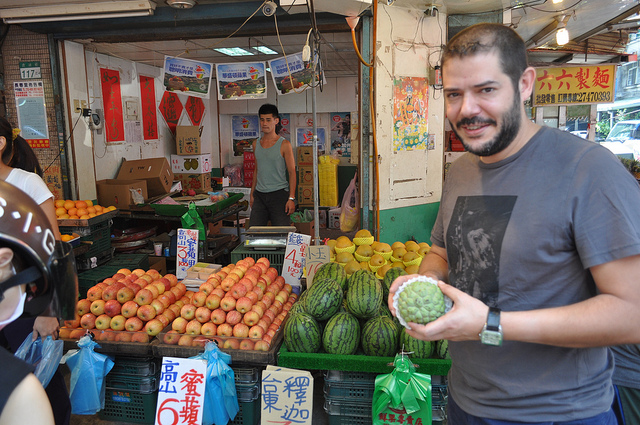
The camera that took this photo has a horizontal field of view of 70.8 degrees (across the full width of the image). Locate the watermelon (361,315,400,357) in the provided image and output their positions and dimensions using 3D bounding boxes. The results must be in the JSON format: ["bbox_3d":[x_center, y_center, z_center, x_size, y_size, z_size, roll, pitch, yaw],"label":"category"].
[{"bbox_3d":[0.373,0.787,2.840,0.220,0.215,0.109,-1,4,4],"label":"watermelon"}]

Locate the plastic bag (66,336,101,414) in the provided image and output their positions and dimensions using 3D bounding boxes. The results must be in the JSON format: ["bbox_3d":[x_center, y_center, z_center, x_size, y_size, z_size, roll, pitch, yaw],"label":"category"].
[{"bbox_3d":[-1.562,1.066,2.980,0.224,0.486,0.098,-1,3,1],"label":"plastic bag"}]

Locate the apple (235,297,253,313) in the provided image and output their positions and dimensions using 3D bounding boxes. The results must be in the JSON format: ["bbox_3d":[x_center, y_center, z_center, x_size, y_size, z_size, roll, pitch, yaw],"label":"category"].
[{"bbox_3d":[-0.525,0.627,3.133,0.097,0.094,0.096,-30,-33,12],"label":"apple"}]

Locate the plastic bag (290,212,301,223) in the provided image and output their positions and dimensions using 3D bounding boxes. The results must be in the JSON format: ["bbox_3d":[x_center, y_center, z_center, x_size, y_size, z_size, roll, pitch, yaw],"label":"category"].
[{"bbox_3d":[-0.340,0.062,5.914,0.111,0.133,0.044,-3,-7,23],"label":"plastic bag"}]

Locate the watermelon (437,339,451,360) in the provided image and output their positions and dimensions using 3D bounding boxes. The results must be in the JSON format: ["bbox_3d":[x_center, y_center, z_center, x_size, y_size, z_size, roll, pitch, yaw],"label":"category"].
[{"bbox_3d":[0.753,0.833,2.764,0.039,0.121,0.102,-4,4,-33],"label":"watermelon"}]

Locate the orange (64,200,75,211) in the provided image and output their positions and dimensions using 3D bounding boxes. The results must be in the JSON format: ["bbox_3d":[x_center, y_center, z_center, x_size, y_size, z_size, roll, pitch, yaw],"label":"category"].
[{"bbox_3d":[-2.803,-0.081,5.046,0.100,0.117,0.105,5,1,4],"label":"orange"}]

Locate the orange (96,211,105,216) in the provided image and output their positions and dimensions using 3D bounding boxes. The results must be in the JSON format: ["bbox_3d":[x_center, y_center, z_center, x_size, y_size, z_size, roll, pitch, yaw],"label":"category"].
[{"bbox_3d":[-2.500,0.005,5.111,0.051,0.061,0.051,-3,-8,10],"label":"orange"}]

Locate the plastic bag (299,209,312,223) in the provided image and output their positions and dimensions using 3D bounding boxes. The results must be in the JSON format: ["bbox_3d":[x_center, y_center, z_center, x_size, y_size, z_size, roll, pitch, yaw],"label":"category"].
[{"bbox_3d":[-0.206,0.035,5.886,0.144,0.159,0.449,-2,4,-2],"label":"plastic bag"}]

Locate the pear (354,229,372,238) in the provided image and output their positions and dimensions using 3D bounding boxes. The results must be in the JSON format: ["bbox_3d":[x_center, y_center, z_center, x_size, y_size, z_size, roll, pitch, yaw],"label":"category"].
[{"bbox_3d":[0.386,0.189,4.105,0.160,0.065,0.109,-2,4,-8],"label":"pear"}]

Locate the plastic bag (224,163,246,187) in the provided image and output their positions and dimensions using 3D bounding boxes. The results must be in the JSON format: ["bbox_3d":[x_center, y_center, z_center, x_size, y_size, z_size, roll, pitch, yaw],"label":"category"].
[{"bbox_3d":[-2.035,-0.924,10.872,0.465,0.605,0.631,0,7,3],"label":"plastic bag"}]

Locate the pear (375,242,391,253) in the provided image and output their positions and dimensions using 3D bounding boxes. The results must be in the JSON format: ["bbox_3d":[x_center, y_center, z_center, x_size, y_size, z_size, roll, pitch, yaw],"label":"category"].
[{"bbox_3d":[0.551,0.302,3.928,0.088,0.054,0.089,-5,-6,35],"label":"pear"}]

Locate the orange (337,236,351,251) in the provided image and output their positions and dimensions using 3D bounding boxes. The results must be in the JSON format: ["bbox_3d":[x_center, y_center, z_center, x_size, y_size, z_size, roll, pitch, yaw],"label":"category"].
[{"bbox_3d":[0.203,0.271,4.024,0.100,0.139,0.100,-25,-24,38],"label":"orange"}]

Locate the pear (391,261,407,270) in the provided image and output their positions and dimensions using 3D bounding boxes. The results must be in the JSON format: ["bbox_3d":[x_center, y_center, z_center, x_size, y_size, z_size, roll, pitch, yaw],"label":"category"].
[{"bbox_3d":[0.651,0.435,3.788,0.069,0.084,0.070,1,-32,-10],"label":"pear"}]

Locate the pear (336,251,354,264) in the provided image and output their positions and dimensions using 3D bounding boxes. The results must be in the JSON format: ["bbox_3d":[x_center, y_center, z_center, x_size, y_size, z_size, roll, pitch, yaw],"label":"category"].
[{"bbox_3d":[0.200,0.378,3.780,0.108,0.087,0.086,-4,-19,14],"label":"pear"}]

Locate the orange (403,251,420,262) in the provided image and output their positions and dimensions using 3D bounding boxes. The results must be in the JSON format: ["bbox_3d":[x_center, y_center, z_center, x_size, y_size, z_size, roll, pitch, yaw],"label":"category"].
[{"bbox_3d":[0.769,0.372,3.851,0.097,0.076,0.075,-3,14,-5],"label":"orange"}]

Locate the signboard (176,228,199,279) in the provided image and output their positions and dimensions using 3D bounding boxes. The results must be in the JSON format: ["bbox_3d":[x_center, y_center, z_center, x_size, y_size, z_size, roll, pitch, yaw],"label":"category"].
[{"bbox_3d":[-1.188,0.363,4.010,0.179,0.442,0.235,-3,4,-19],"label":"signboard"}]

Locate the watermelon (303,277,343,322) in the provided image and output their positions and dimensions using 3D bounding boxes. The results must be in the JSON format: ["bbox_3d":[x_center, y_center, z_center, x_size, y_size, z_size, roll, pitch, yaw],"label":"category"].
[{"bbox_3d":[0.006,0.549,3.058,0.208,0.275,0.208,39,-7,-14],"label":"watermelon"}]

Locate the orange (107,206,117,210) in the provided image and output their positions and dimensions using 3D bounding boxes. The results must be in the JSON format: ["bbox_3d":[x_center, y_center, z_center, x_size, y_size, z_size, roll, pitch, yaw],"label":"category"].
[{"bbox_3d":[-2.548,-0.045,5.494,0.061,0.061,0.072,-2,28,-15],"label":"orange"}]

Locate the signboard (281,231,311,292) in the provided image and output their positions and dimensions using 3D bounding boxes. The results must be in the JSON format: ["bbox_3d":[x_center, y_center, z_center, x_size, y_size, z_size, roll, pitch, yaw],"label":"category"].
[{"bbox_3d":[-0.205,0.376,3.651,0.193,0.431,0.043,11,11,0],"label":"signboard"}]

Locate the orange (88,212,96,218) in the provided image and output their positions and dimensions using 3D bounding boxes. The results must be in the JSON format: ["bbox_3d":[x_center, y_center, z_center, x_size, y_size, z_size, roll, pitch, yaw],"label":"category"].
[{"bbox_3d":[-2.515,0.020,4.951,0.067,0.068,0.077,-13,0,-42],"label":"orange"}]

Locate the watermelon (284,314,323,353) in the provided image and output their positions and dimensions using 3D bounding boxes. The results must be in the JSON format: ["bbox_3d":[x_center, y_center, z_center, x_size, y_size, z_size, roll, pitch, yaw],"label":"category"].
[{"bbox_3d":[-0.119,0.770,2.875,0.219,0.214,0.089,-2,4,-5],"label":"watermelon"}]

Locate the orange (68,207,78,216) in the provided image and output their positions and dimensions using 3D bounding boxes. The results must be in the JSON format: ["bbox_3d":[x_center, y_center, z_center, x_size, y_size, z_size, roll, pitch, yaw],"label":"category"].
[{"bbox_3d":[-2.693,-0.012,4.902,0.082,0.083,0.098,-21,-4,-9],"label":"orange"}]

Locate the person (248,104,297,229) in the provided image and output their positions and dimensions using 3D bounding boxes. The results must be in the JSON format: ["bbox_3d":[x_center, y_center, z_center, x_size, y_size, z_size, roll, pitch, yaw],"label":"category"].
[{"bbox_3d":[-0.641,-0.591,5.785,0.583,1.515,0.446,-3,4,-19],"label":"person"}]

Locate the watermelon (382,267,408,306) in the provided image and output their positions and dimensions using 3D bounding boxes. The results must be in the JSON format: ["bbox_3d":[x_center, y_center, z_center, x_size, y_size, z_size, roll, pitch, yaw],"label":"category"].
[{"bbox_3d":[0.545,0.532,3.274,0.196,0.271,0.201,2,-12,10],"label":"watermelon"}]

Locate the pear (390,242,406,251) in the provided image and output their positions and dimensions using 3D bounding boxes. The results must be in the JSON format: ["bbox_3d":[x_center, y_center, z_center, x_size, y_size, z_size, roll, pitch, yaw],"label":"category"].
[{"bbox_3d":[0.684,0.293,4.038,0.077,0.092,0.078,-8,-25,17],"label":"pear"}]

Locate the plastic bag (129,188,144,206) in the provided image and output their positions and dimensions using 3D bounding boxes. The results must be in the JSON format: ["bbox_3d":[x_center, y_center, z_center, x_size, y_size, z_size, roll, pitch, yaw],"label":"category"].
[{"bbox_3d":[-2.488,-0.220,6.094,0.059,0.190,0.188,-12,-3,27],"label":"plastic bag"}]

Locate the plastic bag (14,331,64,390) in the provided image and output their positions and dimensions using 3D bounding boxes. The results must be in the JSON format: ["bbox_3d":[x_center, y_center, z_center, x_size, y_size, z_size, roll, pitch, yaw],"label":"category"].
[{"bbox_3d":[-1.761,0.926,2.835,0.236,0.332,0.214,-1,4,14],"label":"plastic bag"}]

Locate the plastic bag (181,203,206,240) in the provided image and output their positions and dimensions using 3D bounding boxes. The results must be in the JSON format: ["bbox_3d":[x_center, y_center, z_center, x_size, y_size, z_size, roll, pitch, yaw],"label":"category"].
[{"bbox_3d":[-1.310,0.094,4.653,0.268,0.443,0.375,3,-7,-7],"label":"plastic bag"}]

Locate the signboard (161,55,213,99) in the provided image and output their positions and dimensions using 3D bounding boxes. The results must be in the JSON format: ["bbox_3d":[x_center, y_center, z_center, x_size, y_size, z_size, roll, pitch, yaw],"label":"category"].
[{"bbox_3d":[-1.610,-1.636,5.417,0.587,0.428,0.058,0,26,-32],"label":"signboard"}]

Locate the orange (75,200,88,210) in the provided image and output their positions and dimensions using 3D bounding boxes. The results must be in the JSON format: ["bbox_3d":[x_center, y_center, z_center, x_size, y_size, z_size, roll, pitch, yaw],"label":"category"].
[{"bbox_3d":[-2.671,-0.090,5.038,0.086,0.084,0.100,20,9,-20],"label":"orange"}]

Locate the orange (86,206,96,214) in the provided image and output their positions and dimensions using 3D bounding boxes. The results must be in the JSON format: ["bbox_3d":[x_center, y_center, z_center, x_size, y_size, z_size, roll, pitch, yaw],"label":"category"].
[{"bbox_3d":[-2.557,-0.038,5.025,0.058,0.059,0.076,3,-11,-22],"label":"orange"}]

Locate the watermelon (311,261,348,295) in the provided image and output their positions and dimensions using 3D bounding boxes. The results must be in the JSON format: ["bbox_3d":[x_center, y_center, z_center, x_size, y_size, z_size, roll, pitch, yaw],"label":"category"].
[{"bbox_3d":[0.094,0.451,3.313,0.183,0.248,0.183,34,-21,-28],"label":"watermelon"}]

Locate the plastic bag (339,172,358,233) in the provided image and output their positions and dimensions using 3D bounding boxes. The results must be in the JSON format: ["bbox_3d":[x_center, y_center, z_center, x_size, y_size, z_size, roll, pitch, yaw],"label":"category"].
[{"bbox_3d":[0.405,-0.123,6.388,0.241,0.796,0.432,-1,4,4],"label":"plastic bag"}]

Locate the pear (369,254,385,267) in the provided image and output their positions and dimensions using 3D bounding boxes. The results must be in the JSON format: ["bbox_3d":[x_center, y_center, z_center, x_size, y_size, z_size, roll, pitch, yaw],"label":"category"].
[{"bbox_3d":[0.471,0.398,3.772,0.090,0.067,0.090,-28,-19,-33],"label":"pear"}]

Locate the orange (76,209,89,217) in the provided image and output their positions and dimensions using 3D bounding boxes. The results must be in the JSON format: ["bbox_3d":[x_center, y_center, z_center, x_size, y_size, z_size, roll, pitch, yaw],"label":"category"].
[{"bbox_3d":[-2.605,-0.009,4.928,0.087,0.085,0.082,-7,17,-15],"label":"orange"}]

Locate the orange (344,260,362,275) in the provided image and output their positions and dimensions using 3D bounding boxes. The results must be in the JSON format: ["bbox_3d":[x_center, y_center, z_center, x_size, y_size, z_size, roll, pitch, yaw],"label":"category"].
[{"bbox_3d":[0.255,0.440,3.614,0.112,0.086,0.090,5,-23,1],"label":"orange"}]

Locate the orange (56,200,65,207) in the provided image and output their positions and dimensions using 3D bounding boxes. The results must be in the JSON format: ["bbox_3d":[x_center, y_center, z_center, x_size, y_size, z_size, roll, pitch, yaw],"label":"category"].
[{"bbox_3d":[-2.954,-0.107,5.085,0.080,0.079,0.093,10,-6,-8],"label":"orange"}]

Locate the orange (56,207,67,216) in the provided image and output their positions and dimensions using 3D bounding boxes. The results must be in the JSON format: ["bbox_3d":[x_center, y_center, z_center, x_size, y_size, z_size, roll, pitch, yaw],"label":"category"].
[{"bbox_3d":[-2.835,-0.012,4.945,0.103,0.103,0.096,-2,-3,-23],"label":"orange"}]

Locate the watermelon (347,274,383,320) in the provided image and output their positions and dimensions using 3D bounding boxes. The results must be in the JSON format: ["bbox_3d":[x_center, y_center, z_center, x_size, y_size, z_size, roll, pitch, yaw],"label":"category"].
[{"bbox_3d":[0.312,0.570,3.092,0.232,0.225,0.379,3,34,11],"label":"watermelon"}]
